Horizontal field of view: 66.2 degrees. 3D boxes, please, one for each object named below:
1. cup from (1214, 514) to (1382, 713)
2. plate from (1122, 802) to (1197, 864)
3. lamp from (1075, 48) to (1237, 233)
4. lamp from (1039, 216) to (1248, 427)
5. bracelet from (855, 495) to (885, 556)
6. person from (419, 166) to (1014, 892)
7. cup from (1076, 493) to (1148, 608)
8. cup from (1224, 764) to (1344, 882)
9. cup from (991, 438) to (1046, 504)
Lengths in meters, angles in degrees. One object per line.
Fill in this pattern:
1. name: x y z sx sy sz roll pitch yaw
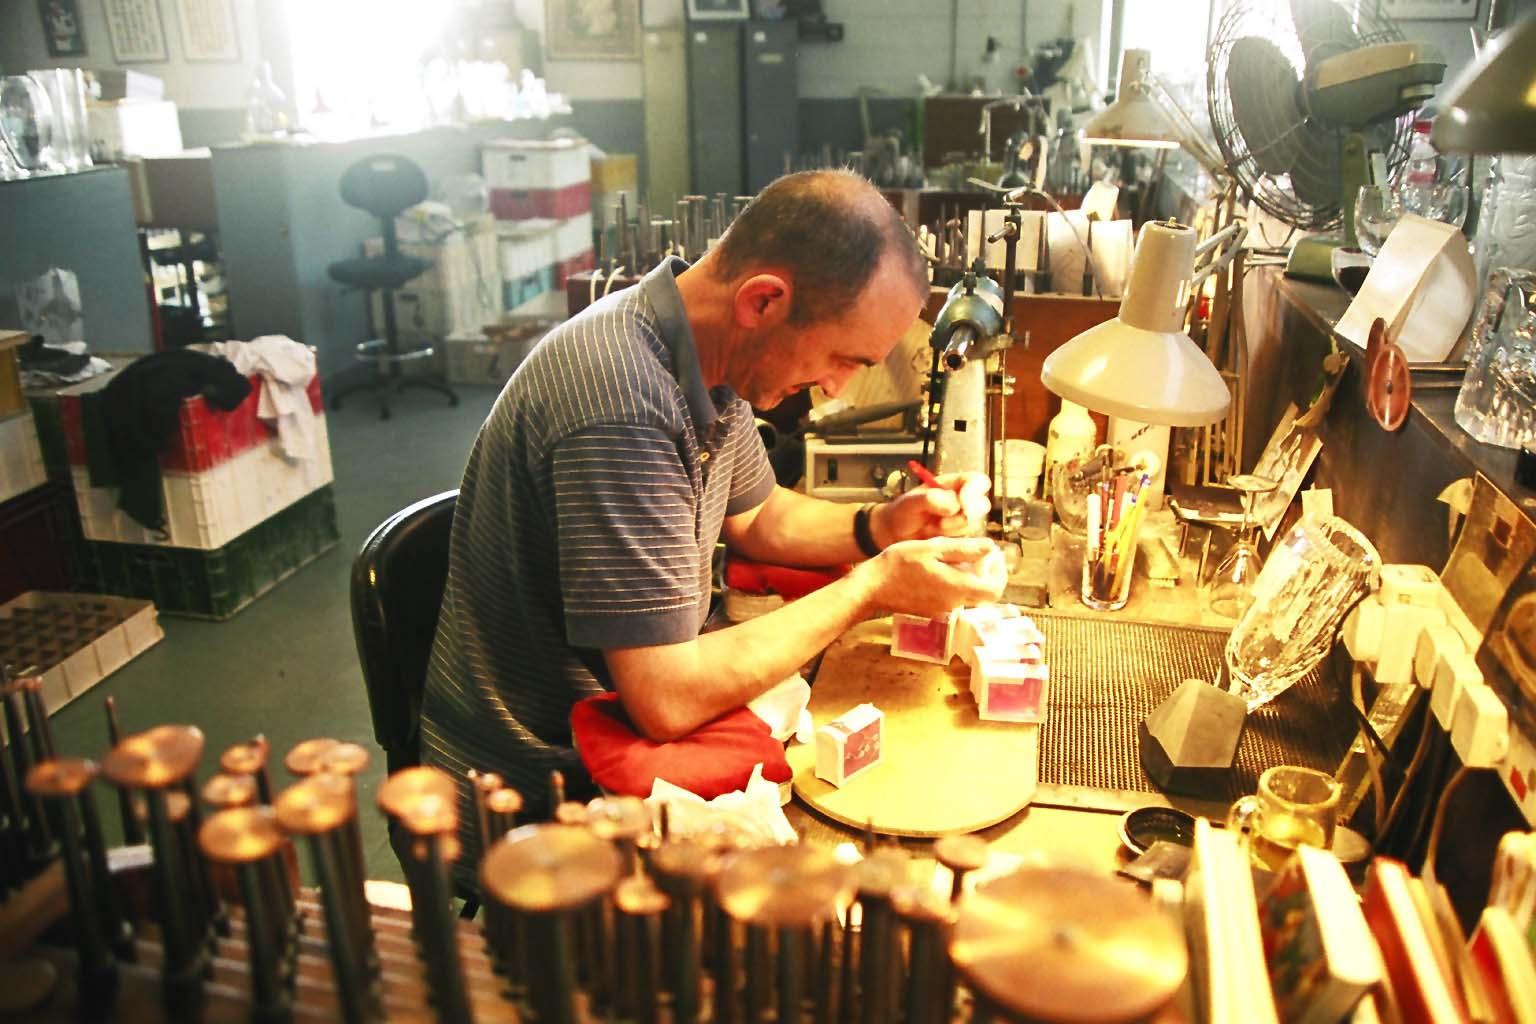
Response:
1. cup: 0.951 0.182 2.102 0.231 0.325 0.221 -1 17 0
2. plate: 0.633 0.512 1.888 0.094 0.033 0.098 8 40 23
3. lamp: 1.377 -1.298 4.003 0.579 0.425 0.287 11 24 11
4. lamp: 0.723 -0.365 2.219 0.334 0.388 0.343 13 13 6
5. bracelet: 0.208 0.024 2.493 0.075 0.094 0.032 16 -11 -36
6. person: -0.147 0.256 2.398 1.032 1.804 0.778 3 21 -22
7. cup: 0.720 0.077 2.492 0.119 0.259 0.104 7 15 20
8. cup: 0.798 0.468 1.797 0.166 0.131 0.167 -1 17 0
9. cup: 0.614 -0.118 2.871 0.145 0.167 0.151 -1 20 0
